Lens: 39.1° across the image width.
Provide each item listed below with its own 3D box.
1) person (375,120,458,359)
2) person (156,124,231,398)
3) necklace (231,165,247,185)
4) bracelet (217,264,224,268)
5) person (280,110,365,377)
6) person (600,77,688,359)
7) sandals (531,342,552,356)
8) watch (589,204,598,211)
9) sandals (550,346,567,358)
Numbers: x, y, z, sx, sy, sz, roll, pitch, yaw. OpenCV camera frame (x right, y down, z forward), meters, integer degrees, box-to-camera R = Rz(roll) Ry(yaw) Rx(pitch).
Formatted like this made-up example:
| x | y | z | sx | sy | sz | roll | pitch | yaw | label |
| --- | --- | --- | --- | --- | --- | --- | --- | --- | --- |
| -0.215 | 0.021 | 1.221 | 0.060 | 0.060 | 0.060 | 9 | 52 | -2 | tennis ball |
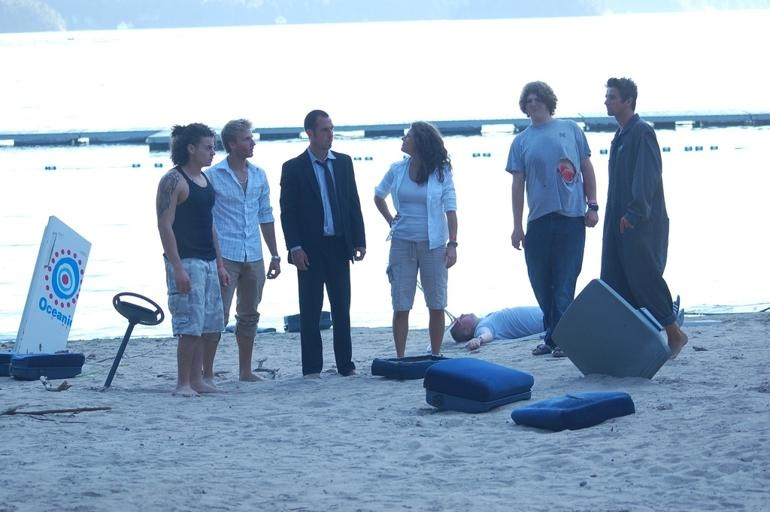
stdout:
| x | y | z | sx | sy | sz | roll | pitch | yaw | label |
| --- | --- | --- | --- | --- | --- | --- | --- | --- | --- |
| 0.420 | -0.137 | 13.599 | 0.959 | 3.023 | 0.721 | -2 | 12 | -1 | person |
| -2.284 | 0.034 | 12.781 | 0.637 | 3.129 | 0.867 | 3 | 13 | 22 | person |
| -1.764 | -1.009 | 13.354 | 0.182 | 0.165 | 0.243 | 4 | 14 | 35 | necklace |
| -1.973 | 0.114 | 12.999 | 0.051 | 0.039 | 0.053 | -2 | -2 | 35 | bracelet |
| -0.771 | -0.148 | 13.499 | 1.028 | 3.270 | 0.776 | -3 | 12 | -5 | person |
| 3.048 | -0.439 | 13.086 | 0.763 | 3.355 | 1.190 | -9 | 14 | -30 | person |
| 2.009 | 1.184 | 13.832 | 0.260 | 0.110 | 0.116 | -3 | 2 | -37 | sandals |
| 2.606 | -0.614 | 13.523 | 0.073 | 0.054 | 0.096 | -1 | 3 | -23 | watch |
| 2.174 | 1.195 | 13.645 | 0.152 | 0.151 | 0.052 | 0 | -6 | 20 | sandals |
